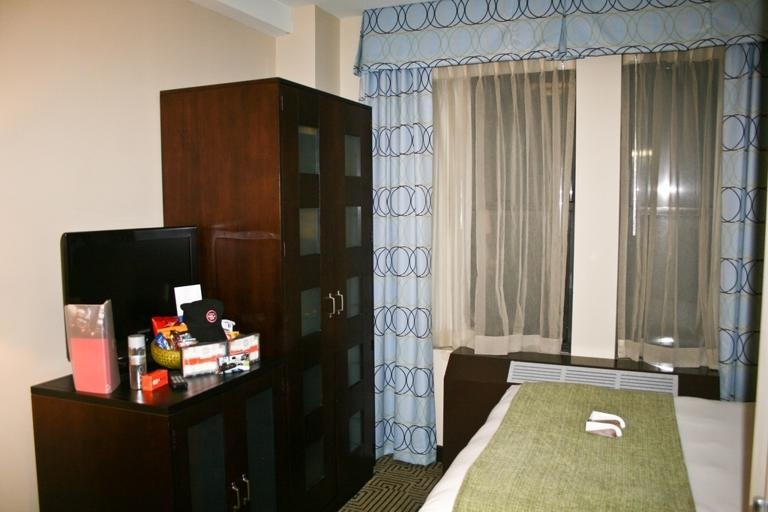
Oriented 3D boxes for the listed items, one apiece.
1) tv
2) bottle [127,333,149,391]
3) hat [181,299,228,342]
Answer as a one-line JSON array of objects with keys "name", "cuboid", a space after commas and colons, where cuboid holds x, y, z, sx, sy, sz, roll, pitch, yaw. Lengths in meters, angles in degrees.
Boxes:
[{"name": "tv", "cuboid": [-1.391, 0.227, 3.284, 0.147, 0.691, 0.673, -1, 4, 37]}, {"name": "bottle", "cuboid": [-1.305, 0.551, 3.192, 0.168, 0.283, 0.078, 3, 7, 38]}, {"name": "hat", "cuboid": [-1.005, 0.370, 3.386, 0.102, 0.240, 0.141, -28, -5, 35]}]
